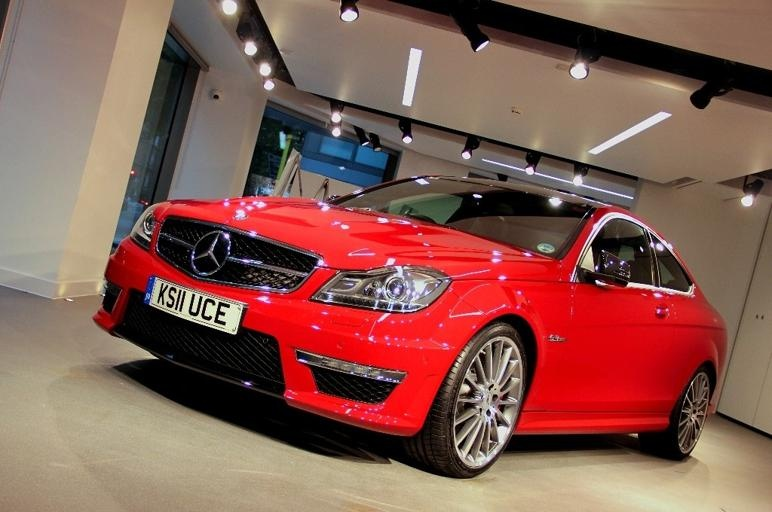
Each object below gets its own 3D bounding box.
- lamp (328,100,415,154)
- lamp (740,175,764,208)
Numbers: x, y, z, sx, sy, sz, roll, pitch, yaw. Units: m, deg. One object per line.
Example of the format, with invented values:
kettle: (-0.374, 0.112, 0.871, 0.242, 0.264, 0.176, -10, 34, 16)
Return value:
lamp: (-0.419, -3.460, 11.688, 2.280, 0.816, 0.375, 18, -35, -36)
lamp: (7.267, -1.335, 8.746, 0.324, 0.586, 0.309, 16, -19, 42)
